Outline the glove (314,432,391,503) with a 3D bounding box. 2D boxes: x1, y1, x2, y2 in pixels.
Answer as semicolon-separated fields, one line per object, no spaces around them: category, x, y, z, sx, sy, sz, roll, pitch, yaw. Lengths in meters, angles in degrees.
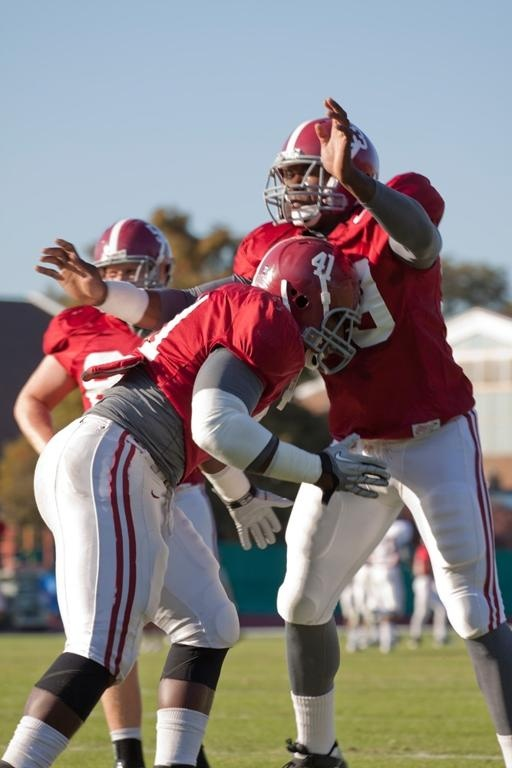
glove;0.275;0.236;3.079;0.285;0.151;0.078;-2;-17;4
